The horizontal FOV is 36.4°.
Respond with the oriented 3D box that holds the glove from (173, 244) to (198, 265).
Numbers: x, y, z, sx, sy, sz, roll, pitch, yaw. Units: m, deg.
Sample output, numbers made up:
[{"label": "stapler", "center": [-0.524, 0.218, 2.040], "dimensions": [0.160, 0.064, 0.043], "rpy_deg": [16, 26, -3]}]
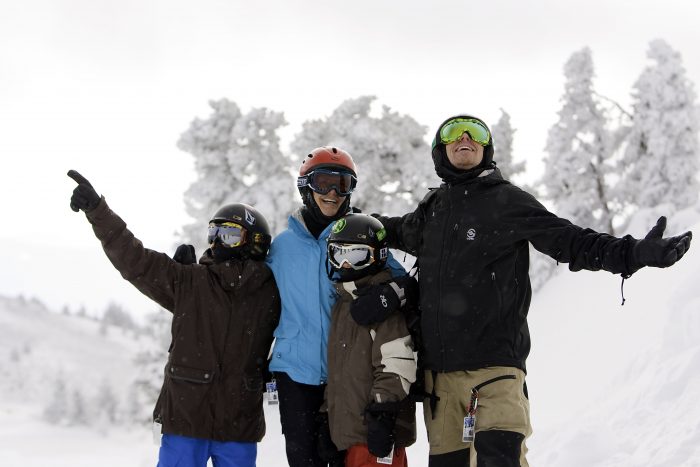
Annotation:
[{"label": "glove", "center": [-4.690, 0.567, 30.016], "dimensions": [0.450, 0.681, 0.250], "rpy_deg": [5, -6, -6]}]
